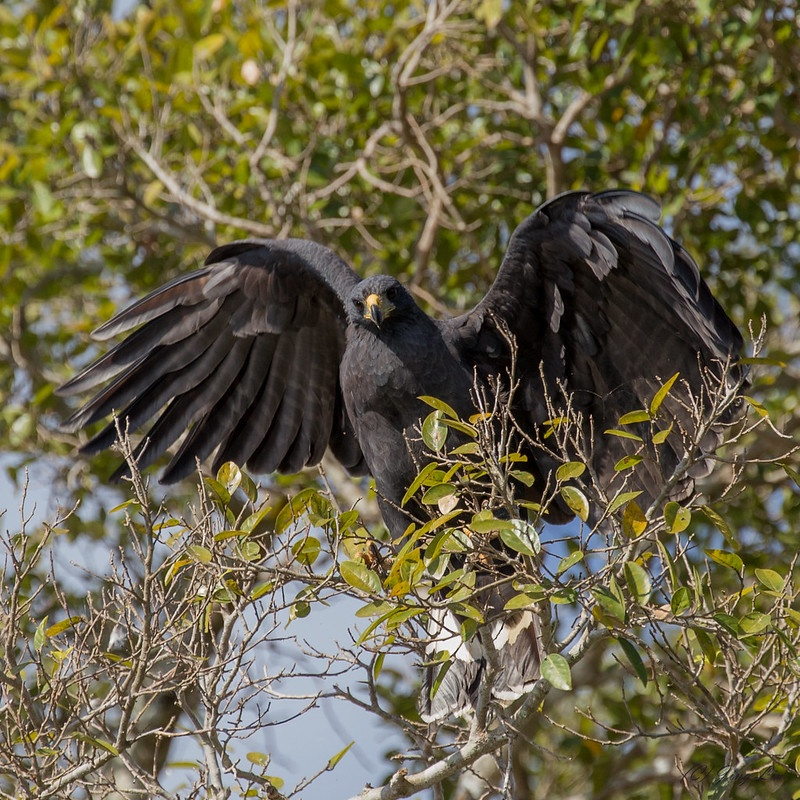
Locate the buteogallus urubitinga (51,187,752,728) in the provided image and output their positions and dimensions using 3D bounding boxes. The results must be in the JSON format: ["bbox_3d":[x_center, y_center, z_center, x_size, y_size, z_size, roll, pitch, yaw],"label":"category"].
[{"bbox_3d":[0.009,0.158,6.070,2.941,1.806,1.099,-4,-22,30],"label":"buteogallus urubitinga"}]
